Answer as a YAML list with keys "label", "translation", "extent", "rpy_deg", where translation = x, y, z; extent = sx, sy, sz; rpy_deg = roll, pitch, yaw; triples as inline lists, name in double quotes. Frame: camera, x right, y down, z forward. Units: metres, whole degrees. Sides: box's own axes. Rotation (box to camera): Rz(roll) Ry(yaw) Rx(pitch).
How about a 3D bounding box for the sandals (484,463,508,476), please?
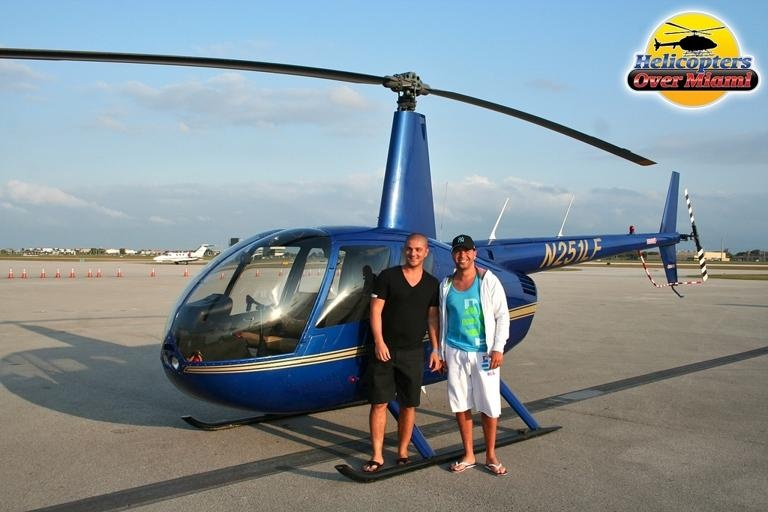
- label: "sandals"
  translation: [1.083, 2.056, 4.985]
  extent: [0.249, 0.080, 0.175]
  rpy_deg: [2, 0, 16]

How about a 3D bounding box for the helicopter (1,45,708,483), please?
- label: "helicopter"
  translation: [-0.234, 0.324, 6.752]
  extent: [6.082, 2.104, 5.505]
  rpy_deg: [3, -1, -39]

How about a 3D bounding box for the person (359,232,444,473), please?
- label: "person"
  translation: [0.204, 0.927, 5.034]
  extent: [0.769, 2.312, 0.370]
  rpy_deg: [2, 1, -9]

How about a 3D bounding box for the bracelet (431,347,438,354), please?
- label: "bracelet"
  translation: [0.523, 0.944, 5.116]
  extent: [0.092, 0.054, 0.083]
  rpy_deg: [2, -3, -16]
